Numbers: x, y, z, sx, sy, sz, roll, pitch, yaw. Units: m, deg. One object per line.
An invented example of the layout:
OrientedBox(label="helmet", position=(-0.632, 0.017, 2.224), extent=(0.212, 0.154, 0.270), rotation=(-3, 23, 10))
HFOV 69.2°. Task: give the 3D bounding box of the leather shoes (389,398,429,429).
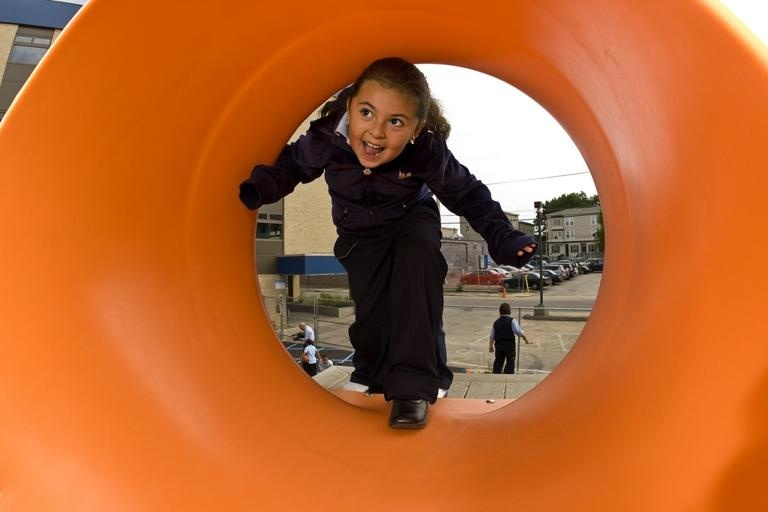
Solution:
OrientedBox(label="leather shoes", position=(0.081, 0.514, 1.795), extent=(0.122, 0.102, 0.100), rotation=(7, -14, 4))

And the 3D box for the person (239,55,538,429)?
OrientedBox(label="person", position=(0.000, -0.004, 1.962), extent=(0.836, 1.302, 0.752), rotation=(12, 19, 42))
